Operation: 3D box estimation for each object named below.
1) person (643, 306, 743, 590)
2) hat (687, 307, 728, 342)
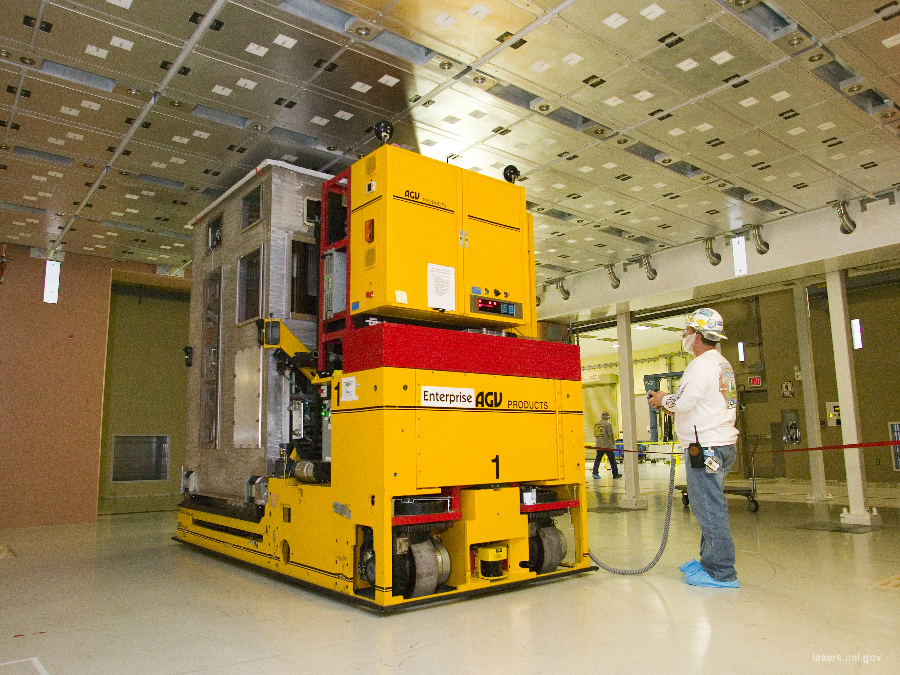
[{"bbox_3d":[2.956,1.483,7.383,0.821,2.668,0.499,-4,-9,18],"label":"person"},{"bbox_3d":[3.067,-0.192,7.830,0.444,0.334,0.584,10,-1,-28],"label":"hat"}]
